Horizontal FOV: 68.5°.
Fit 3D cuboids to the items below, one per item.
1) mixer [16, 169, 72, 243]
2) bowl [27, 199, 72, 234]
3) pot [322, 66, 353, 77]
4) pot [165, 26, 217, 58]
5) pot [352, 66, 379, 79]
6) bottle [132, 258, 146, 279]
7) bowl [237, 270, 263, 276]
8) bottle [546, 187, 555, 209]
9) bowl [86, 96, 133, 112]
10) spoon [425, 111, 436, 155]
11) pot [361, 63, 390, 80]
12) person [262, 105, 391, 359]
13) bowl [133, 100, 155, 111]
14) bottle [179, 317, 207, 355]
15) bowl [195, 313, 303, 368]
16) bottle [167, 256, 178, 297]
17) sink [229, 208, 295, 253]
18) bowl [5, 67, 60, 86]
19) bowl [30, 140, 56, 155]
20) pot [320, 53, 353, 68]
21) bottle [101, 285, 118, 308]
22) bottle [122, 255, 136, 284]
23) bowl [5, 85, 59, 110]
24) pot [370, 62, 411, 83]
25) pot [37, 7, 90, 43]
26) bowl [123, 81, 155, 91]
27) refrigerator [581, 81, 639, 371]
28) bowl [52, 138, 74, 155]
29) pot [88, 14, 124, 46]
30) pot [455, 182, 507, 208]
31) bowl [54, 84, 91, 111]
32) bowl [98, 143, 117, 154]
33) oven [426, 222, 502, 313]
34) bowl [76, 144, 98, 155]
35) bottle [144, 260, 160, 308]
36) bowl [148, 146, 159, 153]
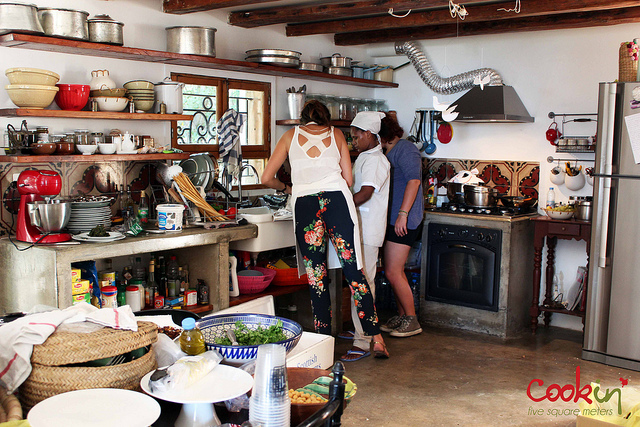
[{"bbox_3d":[-2.008,-0.066,3.425,0.446,0.471,0.383,3,10,18],"label":"mixer"},{"bbox_3d":[-1.965,0.040,3.373,0.276,0.227,0.323,6,12,14],"label":"bowl"},{"bbox_3d":[0.214,-1.701,5.669,0.378,0.110,0.148,-5,11,-35],"label":"pot"},{"bbox_3d":[-1.222,-1.577,4.378,0.451,0.242,0.427,0,14,0],"label":"pot"},{"bbox_3d":[0.564,-1.807,6.020,0.396,0.179,0.097,-7,12,-42],"label":"pot"},{"bbox_3d":[-1.591,0.485,4.100,0.093,0.166,0.159,-2,10,-19],"label":"bottle"},{"bbox_3d":[-0.678,0.583,4.510,0.235,0.035,0.150,-1,9,-12],"label":"bowl"},{"bbox_3d":[2.592,-0.178,5.299,0.084,0.205,0.175,5,10,24],"label":"bottle"},{"bbox_3d":[-1.707,-0.890,3.839,0.156,0.072,0.232,-3,2,2],"label":"bowl"},{"bbox_3d":[1.434,-1.029,6.096,0.135,0.538,0.043,8,12,37],"label":"spoon"},{"bbox_3d":[0.686,-1.789,6.062,0.255,0.173,0.267,-1,10,0],"label":"pot"},{"bbox_3d":[0.100,0.203,4.403,1.085,2.342,0.912,3,10,15],"label":"person"},{"bbox_3d":[-1.511,-0.915,4.042,0.105,0.066,0.105,-3,8,0],"label":"bowl"},{"bbox_3d":[-0.523,0.505,1.942,0.104,0.149,0.131,-7,12,-42],"label":"bottle"},{"bbox_3d":[-0.346,0.565,2.238,0.302,0.090,0.288,1,5,0],"label":"bowl"},{"bbox_3d":[-1.311,0.565,4.149,0.088,0.345,0.112,0,9,-8],"label":"bottle"},{"bbox_3d":[-0.556,0.094,4.534,0.416,0.299,0.629,4,7,37],"label":"sink"},{"bbox_3d":[-2.088,-0.983,3.403,0.210,0.074,0.215,1,6,0],"label":"bowl"},{"bbox_3d":[-2.028,-0.482,3.449,0.104,0.054,0.130,2,4,36],"label":"bowl"},{"bbox_3d":[0.182,-1.816,5.653,0.224,0.120,0.222,-1,2,0],"label":"pot"},{"bbox_3d":[-1.665,0.659,3.702,0.109,0.153,0.150,-4,10,-26],"label":"bottle"},{"bbox_3d":[-1.666,0.489,4.052,0.056,0.215,0.162,-6,-6,16],"label":"bottle"},{"bbox_3d":[-2.118,-0.852,3.464,0.336,0.179,0.185,-3,10,-26],"label":"bowl"},{"bbox_3d":[0.871,-1.836,6.188,0.393,0.240,0.253,0,5,-2],"label":"pot"},{"bbox_3d":[-1.902,-1.402,3.494,0.295,0.167,0.287,0,4,0],"label":"pot"},{"bbox_3d":[-1.547,-1.084,4.016,0.129,0.034,0.124,-2,1,0],"label":"bowl"},{"bbox_3d":[2.740,0.126,4.315,0.552,2.600,0.270,6,11,27],"label":"refrigerator"},{"bbox_3d":[-1.949,-0.497,3.542,0.112,0.087,0.106,0,1,0],"label":"bowl"},{"bbox_3d":[-1.756,-1.492,3.805,0.320,0.223,0.309,3,16,-1],"label":"pot"},{"bbox_3d":[1.801,-0.279,5.250,0.436,0.183,0.279,5,9,34],"label":"pot"},{"bbox_3d":[-1.925,-0.889,3.661,0.241,0.152,0.229,0,1,0],"label":"bowl"},{"bbox_3d":[-1.702,-0.510,3.759,0.139,0.076,0.069,-3,10,-22],"label":"bowl"},{"bbox_3d":[1.749,0.573,5.422,0.858,0.908,0.671,5,2,42],"label":"oven"},{"bbox_3d":[-1.810,-0.495,3.661,0.101,0.048,0.101,0,4,0],"label":"bowl"},{"bbox_3d":[-1.464,0.599,4.076,0.114,0.377,0.274,-2,10,-16],"label":"bottle"},{"bbox_3d":[-1.460,-0.549,4.083,0.096,0.051,0.125,0,8,-8],"label":"bowl"}]
